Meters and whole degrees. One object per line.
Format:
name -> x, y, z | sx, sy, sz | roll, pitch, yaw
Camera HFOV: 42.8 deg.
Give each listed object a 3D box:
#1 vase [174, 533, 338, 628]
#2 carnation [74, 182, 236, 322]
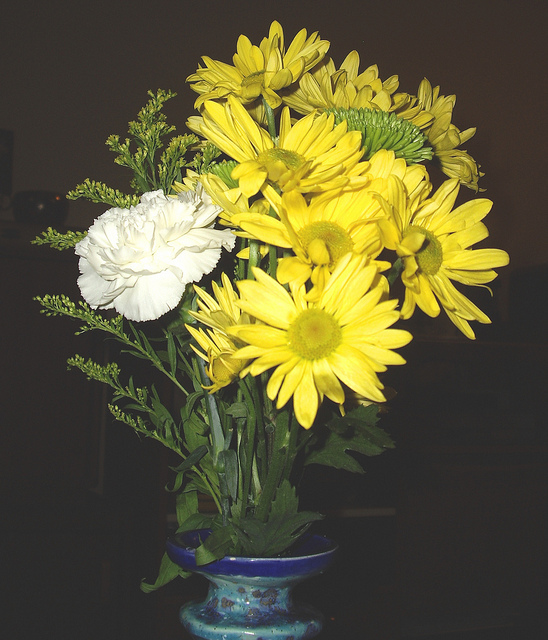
vase -> -0.023, 0.262, 0.711 | 0.168, 0.098, 0.126 | 2, -3, 1
carnation -> -0.117, -0.065, 0.676 | 0.158, 0.139, 0.053 | 7, -40, 35
